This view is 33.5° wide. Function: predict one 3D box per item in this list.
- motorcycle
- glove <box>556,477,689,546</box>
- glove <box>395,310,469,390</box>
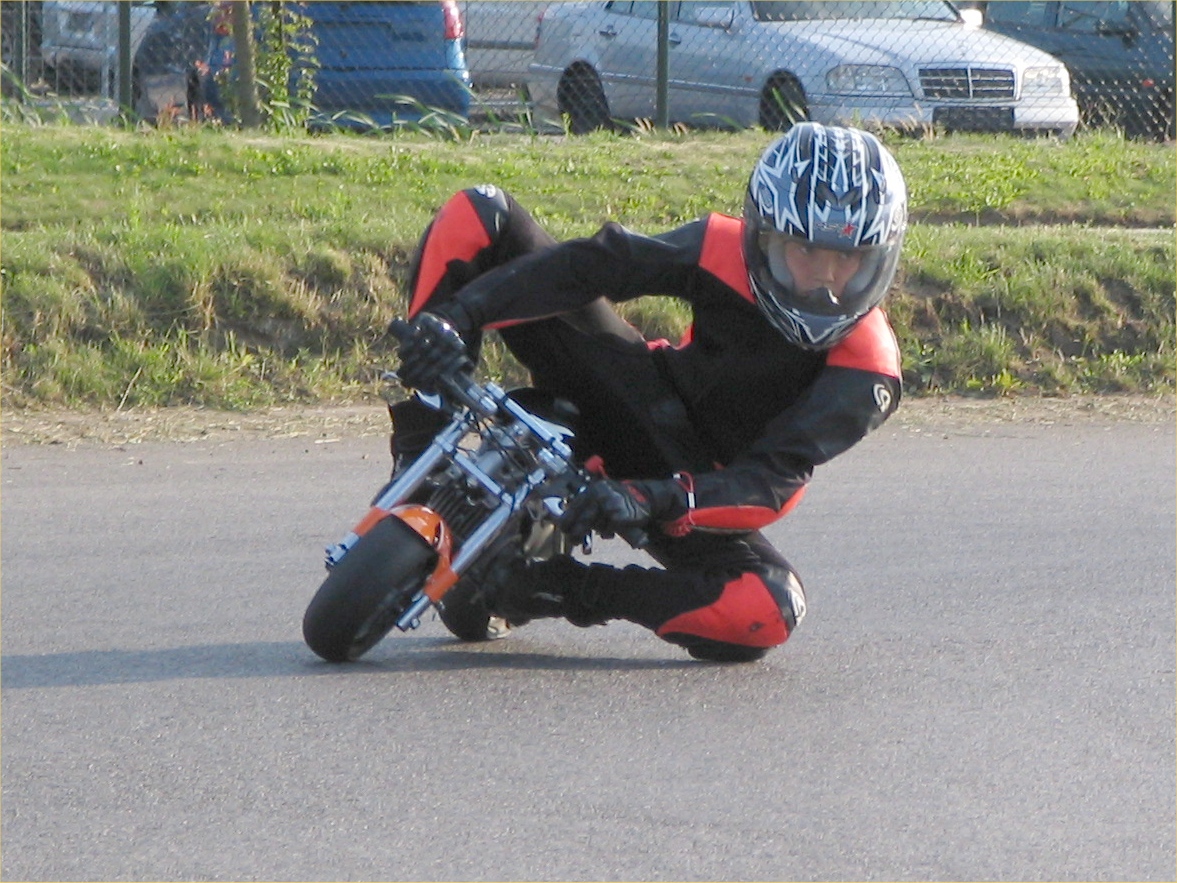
[{"bbox_3d":[-0.594,0.279,7.560,1.013,0.894,1.633,48,16,7],"label":"motorcycle"},{"bbox_3d":[0.140,0.242,7.398,0.325,0.137,0.312,5,-3,11],"label":"glove"},{"bbox_3d":[-0.599,-0.347,7.584,0.289,0.292,0.239,1,13,-3],"label":"glove"}]
